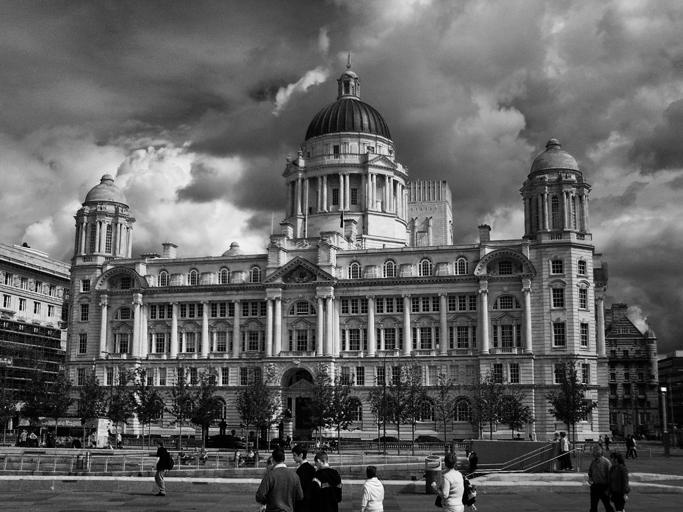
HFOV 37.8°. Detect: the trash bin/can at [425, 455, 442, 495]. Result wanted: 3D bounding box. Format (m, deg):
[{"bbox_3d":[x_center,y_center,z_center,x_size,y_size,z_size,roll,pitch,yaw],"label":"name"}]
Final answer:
[{"bbox_3d":[5.265,12.671,57.910,0.942,2.106,2.833,-4,-14,4],"label":"trash bin/can"}]
